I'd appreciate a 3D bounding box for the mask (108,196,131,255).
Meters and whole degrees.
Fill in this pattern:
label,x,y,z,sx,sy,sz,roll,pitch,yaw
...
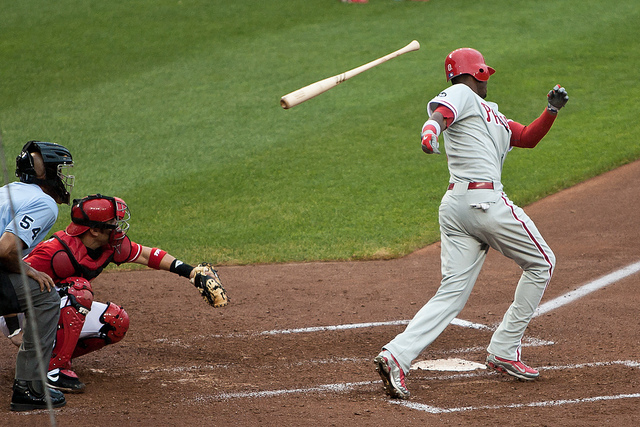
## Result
label,x,y,z,sx,sy,sz,roll,pitch,yaw
mask,-1.956,0.102,9.312,0.224,0.476,0.380,7,14,-4

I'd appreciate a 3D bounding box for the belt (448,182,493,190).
label,x,y,z,sx,sy,sz,roll,pitch,yaw
belt,1.545,-0.267,9.204,0.236,0.061,0.046,-2,22,4
